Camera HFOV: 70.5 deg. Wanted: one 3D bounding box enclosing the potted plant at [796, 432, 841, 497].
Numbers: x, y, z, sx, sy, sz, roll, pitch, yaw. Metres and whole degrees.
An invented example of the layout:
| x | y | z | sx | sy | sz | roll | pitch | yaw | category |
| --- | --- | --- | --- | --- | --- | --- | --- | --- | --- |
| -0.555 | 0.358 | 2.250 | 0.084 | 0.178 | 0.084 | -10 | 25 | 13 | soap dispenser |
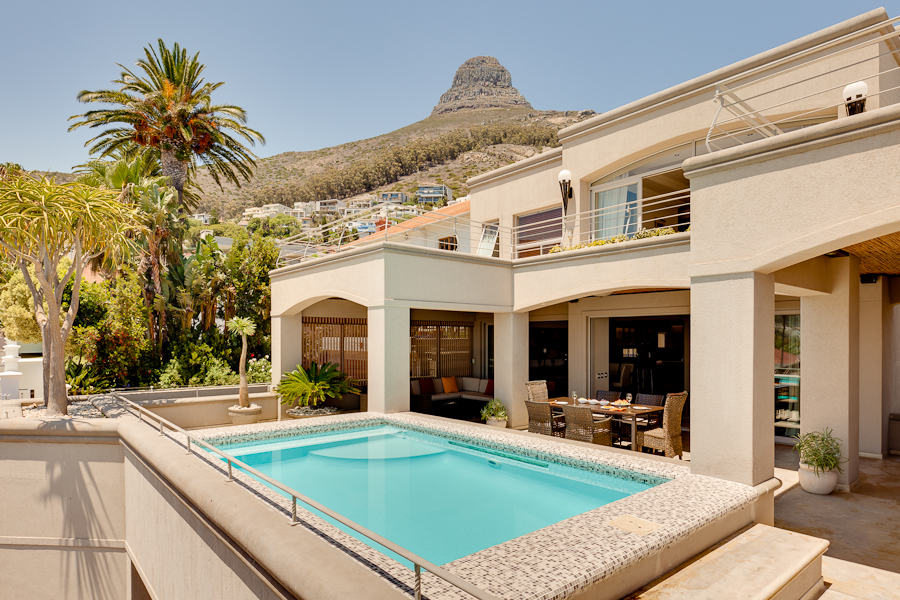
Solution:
| x | y | z | sx | sy | sz | roll | pitch | yaw | category |
| --- | --- | --- | --- | --- | --- | --- | --- | --- | --- |
| 8.351 | 3.762 | 14.608 | 1.023 | 1.260 | 0.891 | 4 | -12 | 11 | potted plant |

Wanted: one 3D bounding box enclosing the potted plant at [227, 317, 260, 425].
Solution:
| x | y | z | sx | sy | sz | roll | pitch | yaw | category |
| --- | --- | --- | --- | --- | --- | --- | --- | --- | --- |
| -6.228 | 2.139 | 19.162 | 1.152 | 3.223 | 1.177 | -2 | -1 | 13 | potted plant |

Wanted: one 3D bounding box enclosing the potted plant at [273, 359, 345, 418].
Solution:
| x | y | z | sx | sy | sz | roll | pitch | yaw | category |
| --- | --- | --- | --- | --- | --- | --- | --- | --- | --- |
| -4.477 | 2.838 | 20.311 | 1.762 | 0.731 | 1.785 | 0 | 2 | 11 | potted plant |

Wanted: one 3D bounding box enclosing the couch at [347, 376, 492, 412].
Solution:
| x | y | z | sx | sy | sz | roll | pitch | yaw | category |
| --- | --- | --- | --- | --- | --- | --- | --- | --- | --- |
| -0.022 | 3.177 | 21.705 | 2.206 | 1.075 | 2.908 | -8 | -10 | 42 | couch |

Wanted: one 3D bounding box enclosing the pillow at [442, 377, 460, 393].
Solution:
| x | y | z | sx | sy | sz | roll | pitch | yaw | category |
| --- | --- | --- | --- | --- | --- | --- | --- | --- | --- |
| -0.037 | 3.026 | 22.426 | 0.561 | 0.501 | 0.165 | 11 | -22 | -44 | pillow |

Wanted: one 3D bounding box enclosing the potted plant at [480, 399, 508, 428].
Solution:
| x | y | z | sx | sy | sz | roll | pitch | yaw | category |
| --- | --- | --- | --- | --- | --- | --- | --- | --- | --- |
| 1.303 | 3.417 | 19.108 | 0.759 | 0.734 | 0.747 | 1 | 1 | -12 | potted plant |
